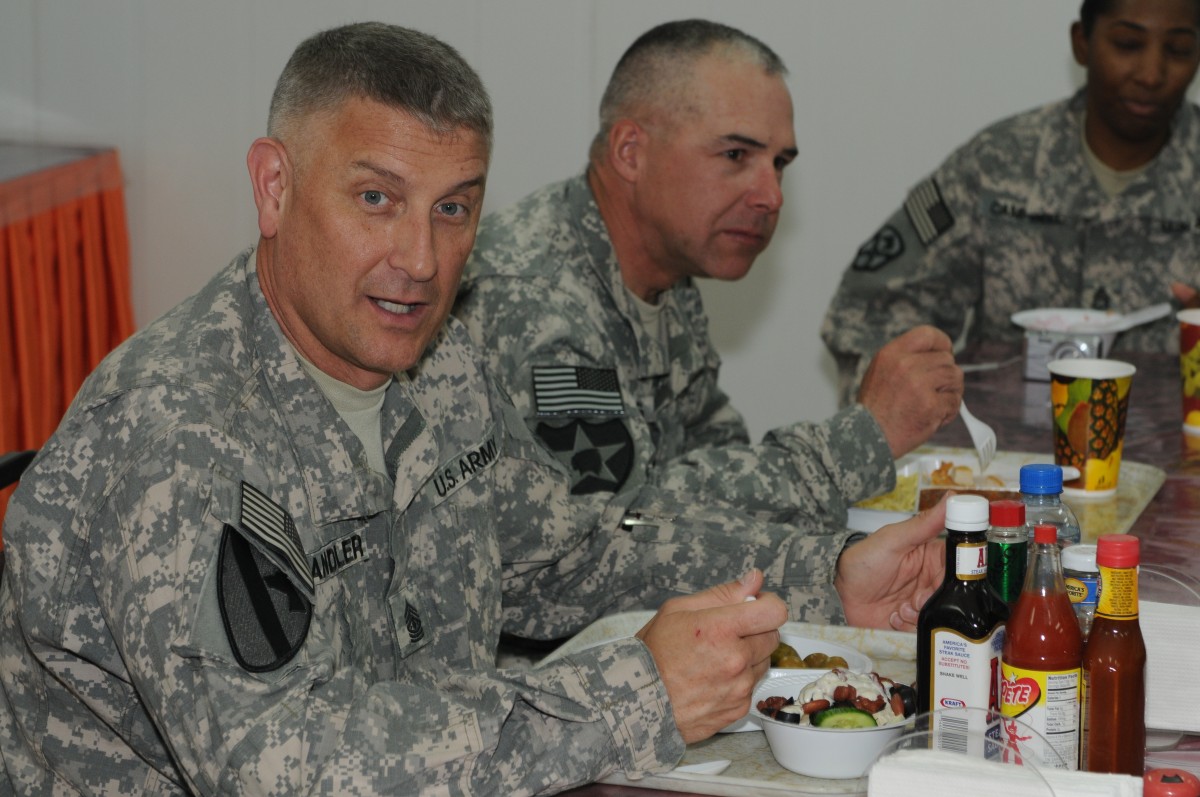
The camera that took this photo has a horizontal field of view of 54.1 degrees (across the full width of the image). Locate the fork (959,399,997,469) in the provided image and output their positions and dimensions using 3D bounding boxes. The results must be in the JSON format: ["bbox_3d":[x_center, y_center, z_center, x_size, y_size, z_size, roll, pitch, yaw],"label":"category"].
[{"bbox_3d":[0.855,0.086,2.674,0.031,0.043,0.206,25,26,-26],"label":"fork"}]

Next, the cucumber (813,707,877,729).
[{"bbox_3d":[0.333,0.436,1.604,0.082,0.027,0.018,-3,-4,-1],"label":"cucumber"}]

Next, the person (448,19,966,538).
[{"bbox_3d":[0.164,-0.331,2.662,1.187,1.057,0.893,8,15,19],"label":"person"}]

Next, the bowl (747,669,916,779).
[{"bbox_3d":[0.326,0.456,1.648,0.225,0.136,0.115,-3,-4,6],"label":"bowl"}]

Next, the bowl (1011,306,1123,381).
[{"bbox_3d":[1.241,-0.156,3.158,0.234,0.148,0.233,1,0,0],"label":"bowl"}]
